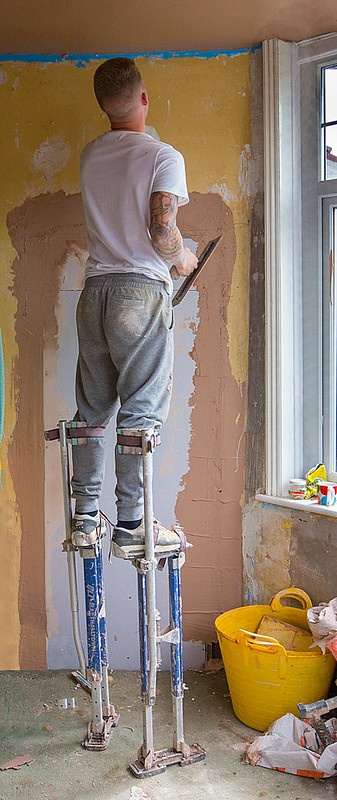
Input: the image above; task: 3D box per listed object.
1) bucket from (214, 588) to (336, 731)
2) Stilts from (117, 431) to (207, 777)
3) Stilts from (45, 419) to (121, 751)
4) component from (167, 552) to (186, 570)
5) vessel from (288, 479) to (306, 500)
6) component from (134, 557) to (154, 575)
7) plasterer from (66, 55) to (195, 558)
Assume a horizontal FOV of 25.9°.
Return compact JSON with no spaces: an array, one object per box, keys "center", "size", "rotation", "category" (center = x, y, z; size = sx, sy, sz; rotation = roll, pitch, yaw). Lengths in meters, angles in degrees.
[{"center":[0.360,0.892,2.507],"size":[0.382,0.387,0.450],"rotation":[0,8,-1],"category":"bucket"},{"center":[-0.022,0.629,2.195],"size":[0.205,1.109,0.213],"rotation":[-9,9,-43],"category":"Stilts"},{"center":[-0.262,0.571,2.376],"size":[0.173,0.951,0.318],"rotation":[-7,2,-11],"category":"Stilts"},{"center":[0.027,0.498,2.277],"size":[0.044,0.049,0.047],"rotation":[-3,5,-32],"category":"component"},{"center":[0.467,0.324,2.633],"size":[0.056,0.059,0.060],"rotation":[0,0,-7],"category":"vessel"},{"center":[-0.069,0.474,2.076],"size":[0.047,0.043,0.027],"rotation":[4,4,12],"category":"component"},{"center":[-0.104,-0.267,2.272],"size":[0.417,1.441,0.376],"rotation":[11,12,38],"category":"plasterer"}]
